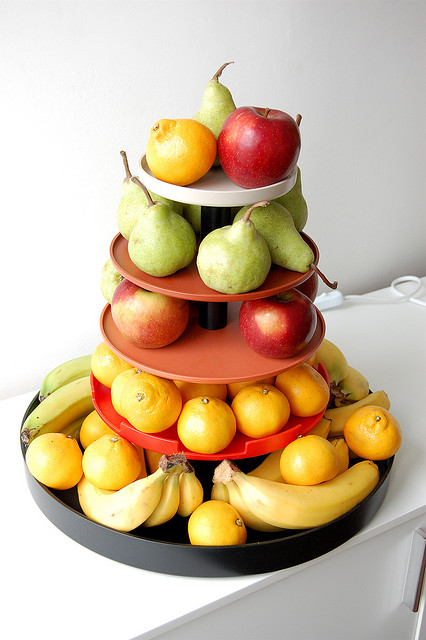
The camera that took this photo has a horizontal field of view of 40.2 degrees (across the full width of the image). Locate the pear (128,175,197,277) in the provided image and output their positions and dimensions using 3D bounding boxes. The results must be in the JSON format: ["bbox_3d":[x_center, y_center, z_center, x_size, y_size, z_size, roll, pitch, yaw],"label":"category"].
[{"bbox_3d":[-0.057,-0.097,0.587,0.070,0.097,0.066,-10,32,6],"label":"pear"}]

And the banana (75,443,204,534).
[{"bbox_3d":[-0.112,0.174,0.675,0.117,0.072,0.080,27,15,-16],"label":"banana"}]

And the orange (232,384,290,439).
[{"bbox_3d":[0.056,0.110,0.703,0.072,0.062,0.072,2,32,-4],"label":"orange"}]

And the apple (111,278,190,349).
[{"bbox_3d":[-0.074,-0.007,0.661,0.077,0.072,0.078,22,43,25],"label":"apple"}]

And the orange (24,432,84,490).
[{"bbox_3d":[-0.196,0.174,0.754,0.066,0.063,0.066,8,34,-47],"label":"orange"}]

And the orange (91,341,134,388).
[{"bbox_3d":[-0.130,0.048,0.776,0.046,0.053,0.046,-20,31,-1],"label":"orange"}]

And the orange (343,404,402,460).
[{"bbox_3d":[0.208,0.145,0.796,0.068,0.069,0.068,-13,51,-2],"label":"orange"}]

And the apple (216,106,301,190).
[{"bbox_3d":[0.042,-0.164,0.595,0.077,0.079,0.075,5,32,-19],"label":"apple"}]

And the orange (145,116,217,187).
[{"bbox_3d":[-0.030,-0.165,0.573,0.070,0.065,0.059,-13,19,-12],"label":"orange"}]

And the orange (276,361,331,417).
[{"bbox_3d":[0.130,0.093,0.756,0.073,0.059,0.069,-6,-7,-6],"label":"orange"}]

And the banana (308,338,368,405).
[{"bbox_3d":[0.191,0.098,0.926,0.069,0.120,0.050,-36,5,-29],"label":"banana"}]

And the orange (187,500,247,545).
[{"bbox_3d":[0.002,0.236,0.657,0.058,0.055,0.054,-14,-17,-6],"label":"orange"}]

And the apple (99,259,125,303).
[{"bbox_3d":[-0.130,-0.049,0.729,0.045,0.048,0.049,-3,-18,-2],"label":"apple"}]

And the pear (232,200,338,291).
[{"bbox_3d":[0.089,-0.086,0.636,0.059,0.133,0.058,-36,21,15],"label":"pear"}]

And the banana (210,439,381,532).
[{"bbox_3d":[0.095,0.196,0.680,0.183,0.116,0.055,-14,25,-15],"label":"banana"}]

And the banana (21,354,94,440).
[{"bbox_3d":[-0.226,0.117,0.856,0.045,0.054,0.163,2,34,27],"label":"banana"}]

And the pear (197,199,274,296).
[{"bbox_3d":[0.025,-0.074,0.571,0.073,0.099,0.074,-4,43,-16],"label":"pear"}]

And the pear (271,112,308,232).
[{"bbox_3d":[0.092,-0.172,0.697,0.057,0.130,0.065,7,16,10],"label":"pear"}]

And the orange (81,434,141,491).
[{"bbox_3d":[-0.117,0.167,0.676,0.065,0.061,0.063,-10,43,-15],"label":"orange"}]

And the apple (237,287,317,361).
[{"bbox_3d":[0.070,0.006,0.672,0.076,0.070,0.074,5,31,1],"label":"apple"}]

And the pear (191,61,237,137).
[{"bbox_3d":[0.010,-0.233,0.628,0.054,0.054,0.081,9,-19,13],"label":"pear"}]

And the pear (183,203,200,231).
[{"bbox_3d":[-0.023,-0.120,0.676,0.023,0.027,0.023,0,36,15],"label":"pear"}]
